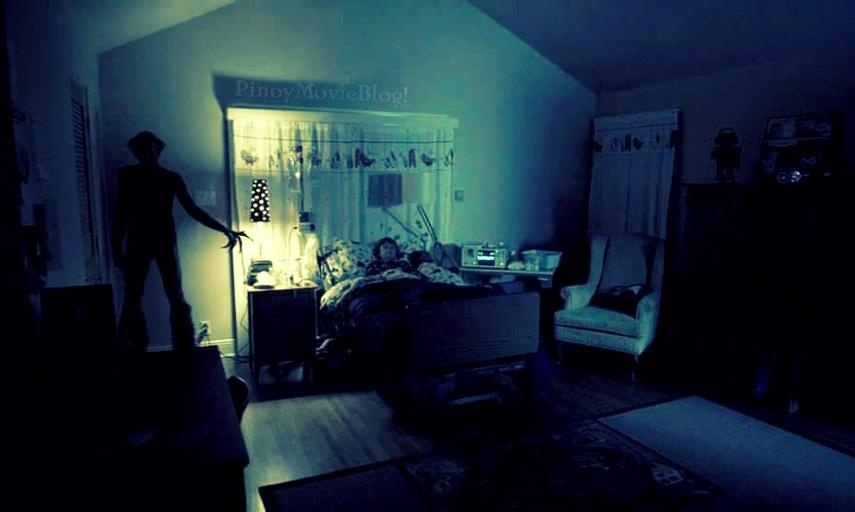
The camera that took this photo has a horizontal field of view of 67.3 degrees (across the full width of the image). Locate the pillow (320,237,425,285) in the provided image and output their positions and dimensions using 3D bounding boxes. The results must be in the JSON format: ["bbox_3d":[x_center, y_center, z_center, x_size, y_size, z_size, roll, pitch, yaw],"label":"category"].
[{"bbox_3d":[-0.768,0.053,7.346,0.782,0.603,0.253,-9,-26,-25],"label":"pillow"}]

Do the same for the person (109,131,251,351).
[{"bbox_3d":[-2.494,-0.103,5.963,0.764,2.015,0.273,-5,7,-25],"label":"person"}]

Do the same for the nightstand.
[{"bbox_3d":[-1.482,0.761,6.793,0.922,1.188,0.880,-1,8,-11],"label":"nightstand"}]

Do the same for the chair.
[{"bbox_3d":[1.994,0.450,7.057,0.979,1.233,1.137,6,10,28],"label":"chair"}]

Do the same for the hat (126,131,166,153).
[{"bbox_3d":[-2.611,-1.025,5.879,0.273,0.140,0.337,-3,7,-43],"label":"hat"}]
